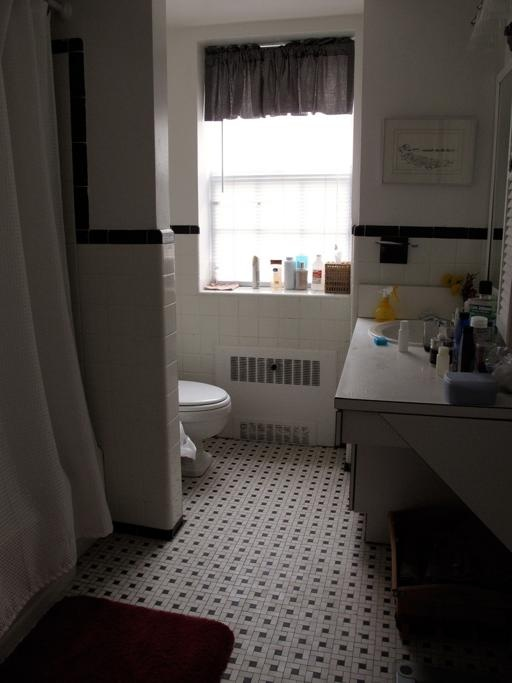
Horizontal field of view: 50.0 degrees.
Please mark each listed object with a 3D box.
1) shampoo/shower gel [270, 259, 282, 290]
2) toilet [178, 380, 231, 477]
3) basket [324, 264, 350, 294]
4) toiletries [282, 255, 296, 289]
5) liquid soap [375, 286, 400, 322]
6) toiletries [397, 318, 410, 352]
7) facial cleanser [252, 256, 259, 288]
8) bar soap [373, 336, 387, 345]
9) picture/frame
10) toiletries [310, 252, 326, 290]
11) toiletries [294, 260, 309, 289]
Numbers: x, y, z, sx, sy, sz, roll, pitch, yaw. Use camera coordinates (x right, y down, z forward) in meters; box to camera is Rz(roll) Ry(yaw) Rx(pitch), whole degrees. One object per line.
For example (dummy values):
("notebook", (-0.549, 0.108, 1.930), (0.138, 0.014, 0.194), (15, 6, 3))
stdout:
("shampoo/shower gel", (0.118, -0.425, 3.507), (0.080, 0.182, 0.124), (-7, 9, -41))
("toilet", (-0.261, 0.461, 2.980), (0.339, 0.439, 0.342), (3, 17, 4))
("basket", (0.487, -0.399, 3.312), (0.162, 0.227, 0.139), (6, 14, 26))
("toiletries", (0.210, -0.418, 3.417), (0.073, 0.201, 0.050), (1, 7, 10))
("liquid soap", (0.634, -0.184, 2.679), (0.107, 0.163, 0.153), (1, 8, 16))
("toiletries", (0.545, -0.017, 2.036), (0.036, 0.108, 0.085), (1, 8, 17))
("facial cleanser", (0.000, -0.439, 3.517), (0.047, 0.198, 0.117), (-1, 7, 1))
("bar soap", (0.482, 0.000, 2.137), (0.056, 0.029, 0.047), (1, 8, 13))
("picture/frame", (0.803, -0.891, 2.577), (0.411, 0.303, 0.050), (1, 7, 10))
("toiletries", (0.380, -0.433, 3.416), (0.080, 0.213, 0.171), (0, 7, 7))
("toiletries", (0.280, -0.407, 3.424), (0.077, 0.176, 0.075), (-2, 7, -10))
